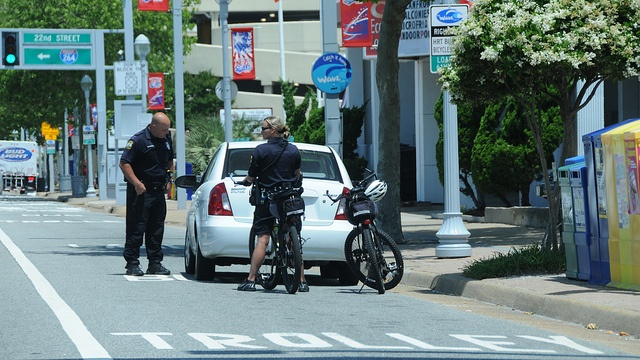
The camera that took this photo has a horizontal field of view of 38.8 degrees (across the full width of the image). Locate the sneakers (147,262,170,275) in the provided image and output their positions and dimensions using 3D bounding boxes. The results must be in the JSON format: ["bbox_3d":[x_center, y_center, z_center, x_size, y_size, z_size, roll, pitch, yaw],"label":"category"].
[{"bbox_3d":[-3.370,1.887,19.020,0.464,0.210,0.226,1,0,-1],"label":"sneakers"}]

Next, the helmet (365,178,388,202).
[{"bbox_3d":[1.148,0.237,18.152,0.471,0.257,0.340,-31,42,-8],"label":"helmet"}]

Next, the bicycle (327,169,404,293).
[{"bbox_3d":[0.986,1.024,18.156,1.290,2.480,1.328,0,-1,3],"label":"bicycle"}]

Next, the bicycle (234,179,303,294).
[{"bbox_3d":[-0.824,1.153,17.763,1.108,2.158,0.701,0,-1,18],"label":"bicycle"}]

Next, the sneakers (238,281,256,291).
[{"bbox_3d":[-1.414,2.092,17.840,0.347,0.155,0.160,2,1,22],"label":"sneakers"}]

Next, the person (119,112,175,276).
[{"bbox_3d":[-3.583,0.320,18.908,1.047,3.406,0.663,1,-1,-10],"label":"person"}]
